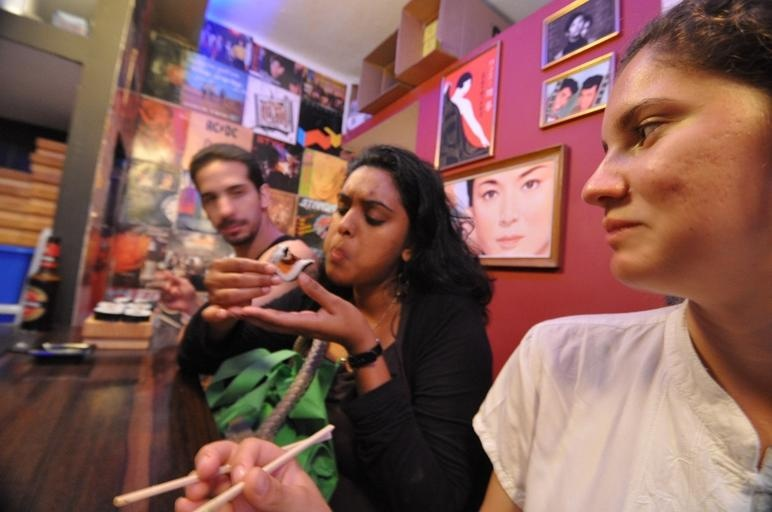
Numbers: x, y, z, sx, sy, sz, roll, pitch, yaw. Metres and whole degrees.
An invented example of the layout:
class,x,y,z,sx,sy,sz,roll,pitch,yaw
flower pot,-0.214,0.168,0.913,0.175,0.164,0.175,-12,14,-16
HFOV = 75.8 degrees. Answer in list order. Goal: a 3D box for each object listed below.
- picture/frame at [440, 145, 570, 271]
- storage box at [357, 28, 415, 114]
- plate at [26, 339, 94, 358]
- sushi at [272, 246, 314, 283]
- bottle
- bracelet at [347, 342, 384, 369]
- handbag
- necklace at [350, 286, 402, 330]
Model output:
class,x,y,z,sx,sy,sz,roll,pitch,yaw
picture/frame,0.802,-0.277,2.986,0.050,0.722,1.012,13,-9,-26
storage box,0.010,-1.504,4.011,0.182,0.437,0.520,19,-30,-31
plate,-1.215,0.353,1.866,0.158,0.033,0.095,1,-1,-16
sushi,-0.343,0.016,1.711,0.169,0.076,0.131,9,28,-19
bottle,-1.493,0.115,2.148,0.103,0.464,0.104,7,-2,0
bracelet,-0.061,0.329,1.620,0.104,0.063,0.103,-14,-8,-32
handbag,-0.339,0.559,1.609,0.391,0.376,0.224,18,-11,33
necklace,-0.049,0.226,1.981,0.146,0.163,0.184,-7,-30,-14
